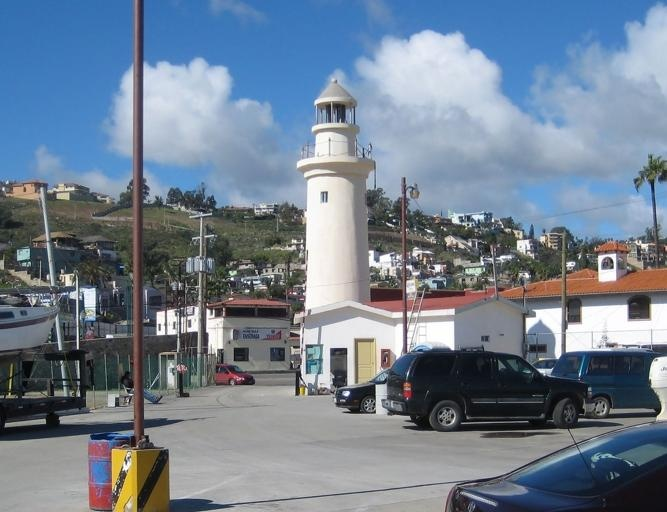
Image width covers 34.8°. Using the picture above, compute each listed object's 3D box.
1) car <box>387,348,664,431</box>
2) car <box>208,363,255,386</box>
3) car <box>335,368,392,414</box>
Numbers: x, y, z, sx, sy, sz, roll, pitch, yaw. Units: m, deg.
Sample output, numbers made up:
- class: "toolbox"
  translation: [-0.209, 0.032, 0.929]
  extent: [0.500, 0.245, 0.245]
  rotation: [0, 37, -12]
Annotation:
- class: "car"
  translation: [4.884, 4.653, 34.574]
  extent: [5.552, 2.302, 2.838]
  rotation: [-2, -2, -12]
- class: "car"
  translation: [-6.072, 7.242, 65.437]
  extent: [2.008, 1.005, 1.200]
  rotation: [-5, -5, 36]
- class: "car"
  translation: [1.097, 5.119, 39.736]
  extent: [2.170, 1.187, 1.270]
  rotation: [3, -7, -5]
